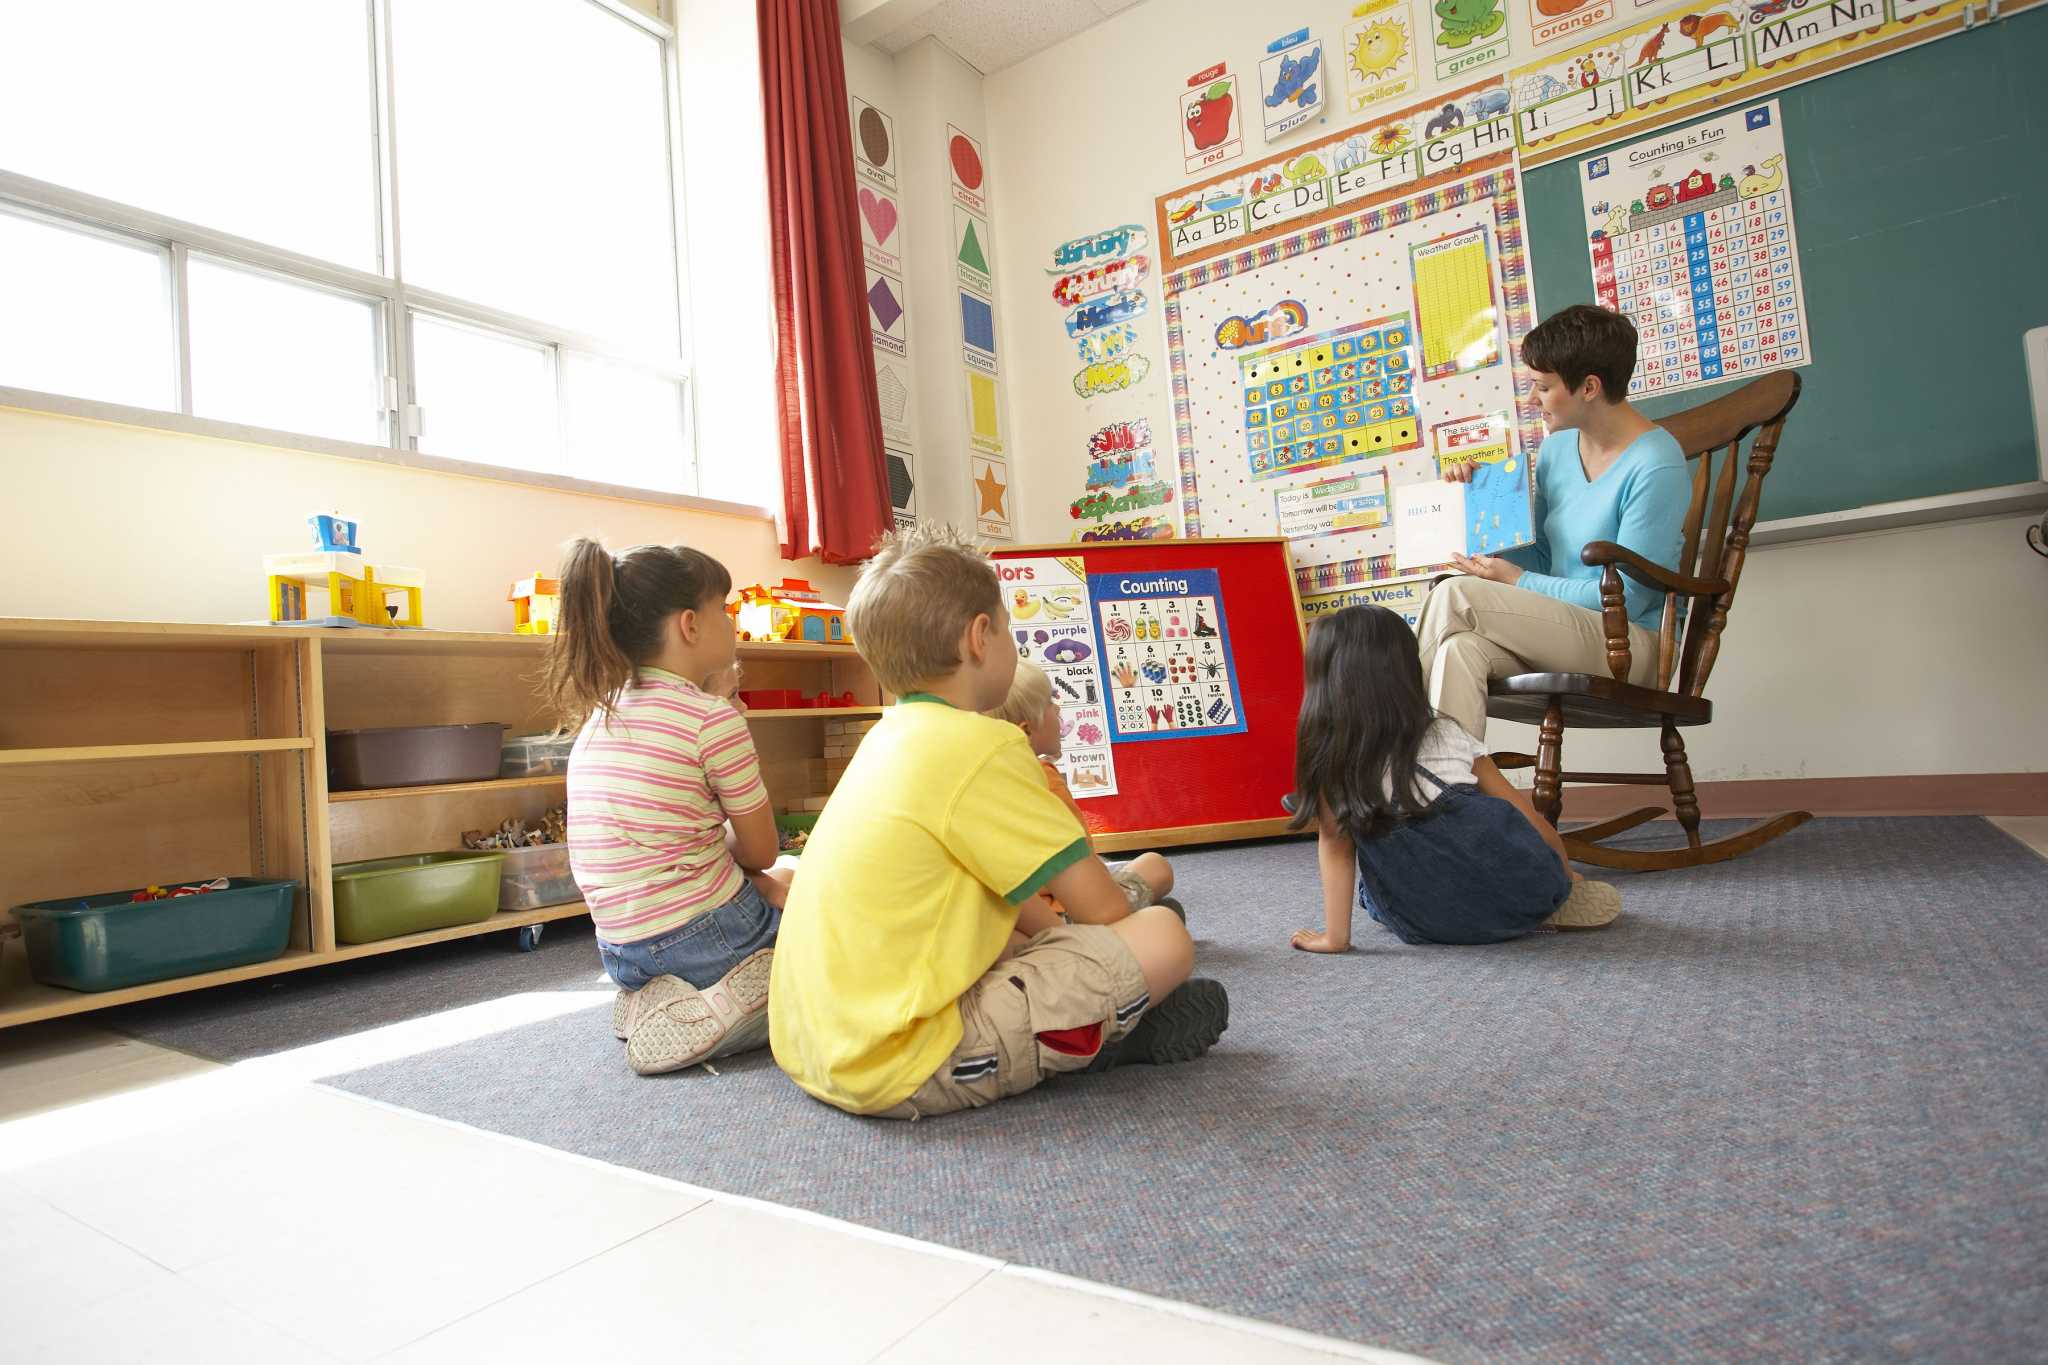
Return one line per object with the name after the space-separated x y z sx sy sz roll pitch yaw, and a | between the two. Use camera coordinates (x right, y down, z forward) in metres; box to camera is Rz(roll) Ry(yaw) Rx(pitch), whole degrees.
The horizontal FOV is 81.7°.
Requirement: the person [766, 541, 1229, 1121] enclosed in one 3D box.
-0.022 0.195 1.902 0.646 0.806 0.744 3 2 33 | person

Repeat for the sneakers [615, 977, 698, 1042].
-0.637 0.534 1.986 0.198 0.074 0.076 -15 -19 40 | sneakers

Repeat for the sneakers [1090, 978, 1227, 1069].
0.215 0.530 1.798 0.081 0.088 0.309 8 14 28 | sneakers

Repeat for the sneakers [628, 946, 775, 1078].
-0.514 0.541 1.973 0.151 0.085 0.249 -10 -1 33 | sneakers
